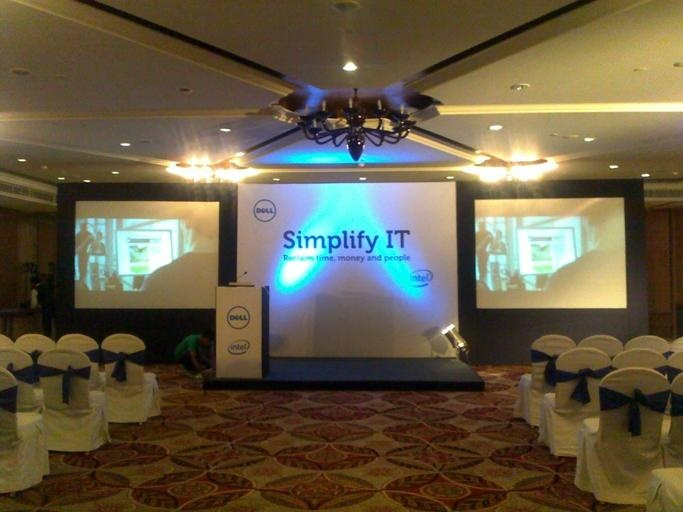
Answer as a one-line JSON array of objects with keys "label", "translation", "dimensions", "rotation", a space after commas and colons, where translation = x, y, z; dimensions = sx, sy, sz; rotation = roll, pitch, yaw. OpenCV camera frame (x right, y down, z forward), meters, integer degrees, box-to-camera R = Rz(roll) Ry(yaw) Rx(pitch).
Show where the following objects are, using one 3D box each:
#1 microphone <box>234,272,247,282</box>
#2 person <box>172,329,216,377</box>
[{"label": "microphone", "translation": [-2.001, 0.413, 10.497], "dimensions": [0.234, 0.093, 0.226], "rotation": [-11, 3, -28]}, {"label": "person", "translation": [-2.536, 1.680, 9.384], "dimensions": [0.527, 0.777, 0.848], "rotation": [-2, 3, -33]}]
